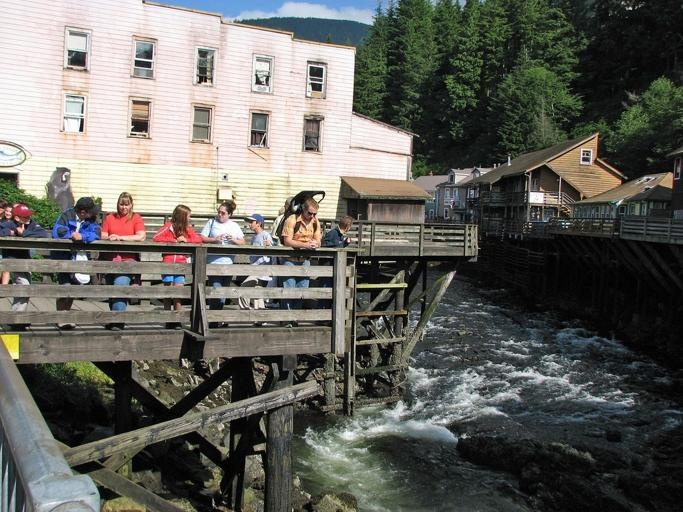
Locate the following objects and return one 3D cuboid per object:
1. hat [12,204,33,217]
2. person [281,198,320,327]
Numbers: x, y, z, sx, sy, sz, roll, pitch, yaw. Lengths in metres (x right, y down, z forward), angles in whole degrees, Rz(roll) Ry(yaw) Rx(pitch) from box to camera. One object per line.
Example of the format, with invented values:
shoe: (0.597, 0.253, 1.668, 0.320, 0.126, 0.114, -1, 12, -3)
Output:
hat: (-6.320, -0.905, 14.357, 0.370, 0.198, 0.240, 13, 20, 6)
person: (-0.776, 0.038, 13.977, 0.753, 2.162, 1.484, 1, 11, -4)
